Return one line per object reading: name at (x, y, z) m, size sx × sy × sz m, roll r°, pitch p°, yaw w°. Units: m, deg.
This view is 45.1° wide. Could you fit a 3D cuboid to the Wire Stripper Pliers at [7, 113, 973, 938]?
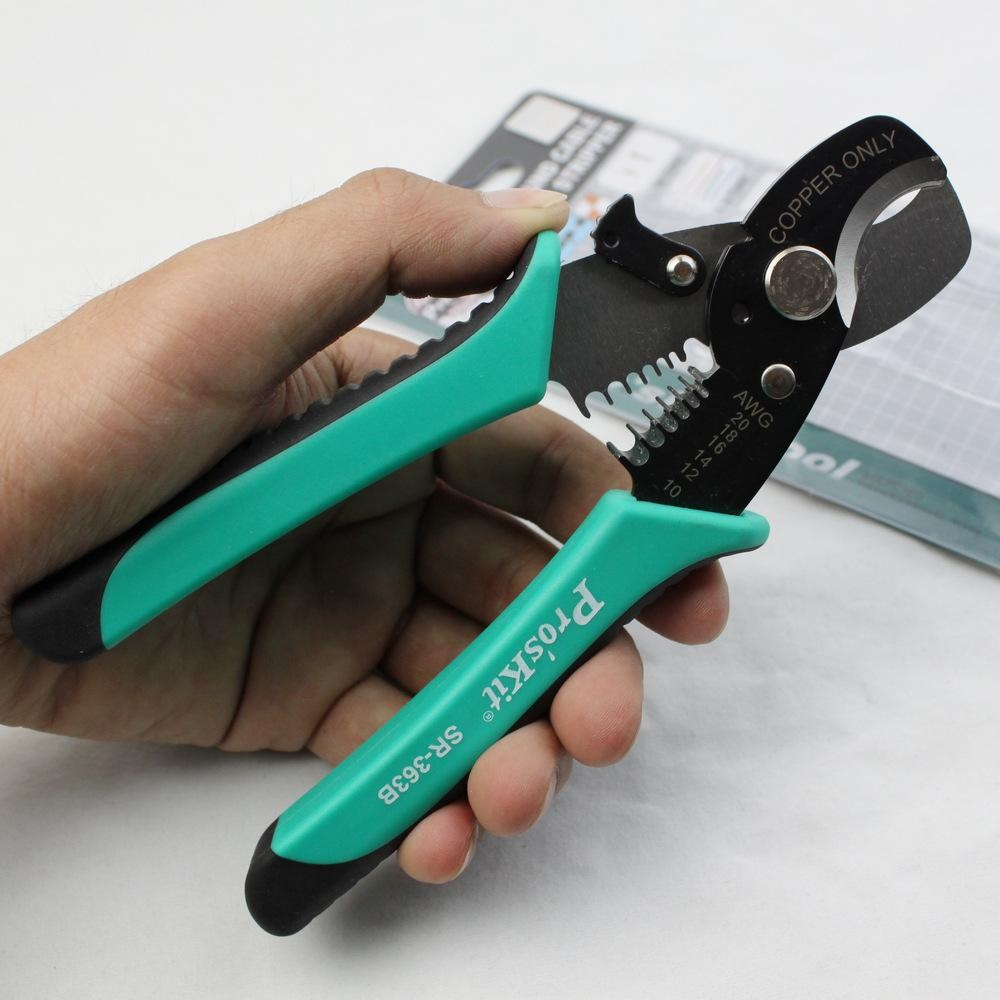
Wire Stripper Pliers at (0.014, 0.000, 1.022) m, size 0.744 × 0.572 × 0.307 m, roll -30°, pitch 56°, yaw -28°
